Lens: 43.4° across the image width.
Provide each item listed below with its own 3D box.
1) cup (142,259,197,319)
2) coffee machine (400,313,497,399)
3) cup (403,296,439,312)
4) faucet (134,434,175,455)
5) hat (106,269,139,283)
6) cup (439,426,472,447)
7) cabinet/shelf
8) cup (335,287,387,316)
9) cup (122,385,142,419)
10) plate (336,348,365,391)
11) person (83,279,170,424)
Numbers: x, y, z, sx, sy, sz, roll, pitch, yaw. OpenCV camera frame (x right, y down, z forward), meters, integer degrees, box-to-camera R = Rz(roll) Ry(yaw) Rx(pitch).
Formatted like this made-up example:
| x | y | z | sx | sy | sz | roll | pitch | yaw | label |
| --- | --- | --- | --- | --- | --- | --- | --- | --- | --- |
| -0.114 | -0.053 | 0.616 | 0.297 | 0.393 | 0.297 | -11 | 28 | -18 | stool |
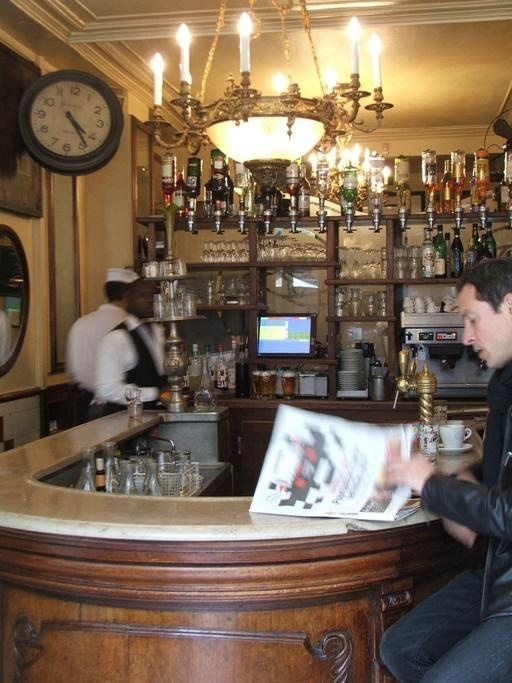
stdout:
| x | y | z | sx | sy | sz | roll | pitch | yaw | label |
| --- | --- | --- | --- | --- | --- | --- | --- | --- | --- |
| -0.451 | -0.272 | 3.381 | 0.245 | 0.306 | 0.357 | -6 | 14 | -14 | cup |
| 1.418 | 0.098 | 4.530 | 0.660 | 0.601 | 0.408 | 0 | -1 | 39 | coffee machine |
| 1.195 | -0.249 | 4.584 | 0.126 | 0.098 | 0.218 | 1 | -1 | 33 | cup |
| -0.435 | 0.480 | 2.974 | 0.211 | 0.084 | 0.149 | 3 | -2 | 16 | faucet |
| -0.789 | -0.377 | 3.866 | 0.180 | 0.098 | 0.133 | 2 | 0 | -37 | hat |
| 0.699 | 0.336 | 2.249 | 0.110 | 0.068 | 0.081 | 2 | -5 | -44 | cup |
| 0.312 | 0.019 | 3.523 | 2.235 | 1.869 | 0.753 | 0 | -6 | 1 | cabinet/shelf |
| 0.789 | -0.278 | 4.747 | 0.353 | 0.274 | 0.208 | 3 | -4 | -14 | cup |
| -0.563 | 0.289 | 2.981 | 0.065 | 0.139 | 0.097 | -4 | 14 | -8 | cup |
| 0.623 | 0.217 | 4.593 | 0.281 | 0.325 | 0.290 | 0 | -3 | 1 | plate |
| -0.685 | 0.046 | 3.436 | 0.406 | 0.747 | 1.085 | -4 | 13 | -8 | person |
